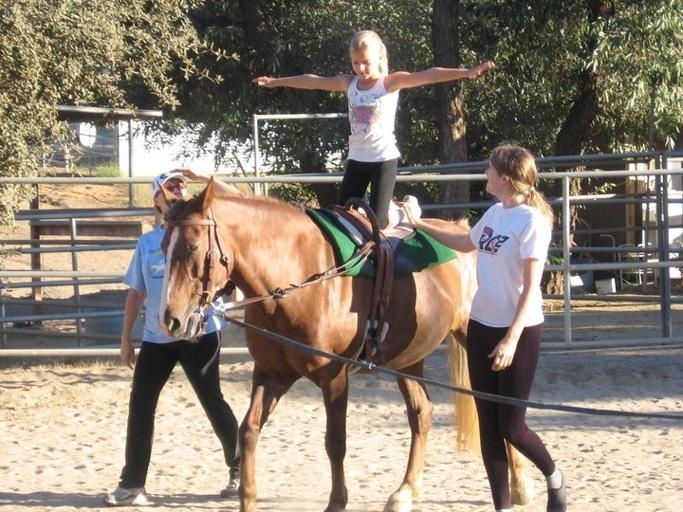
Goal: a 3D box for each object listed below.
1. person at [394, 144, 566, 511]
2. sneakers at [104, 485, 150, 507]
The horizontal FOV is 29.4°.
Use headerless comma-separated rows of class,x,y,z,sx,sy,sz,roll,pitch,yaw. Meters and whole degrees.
person,1.669,0.685,12.854,1.193,3.608,0.641,2,4,12
sneakers,-2.209,2.489,13.491,0.492,0.198,0.180,5,-5,-15
